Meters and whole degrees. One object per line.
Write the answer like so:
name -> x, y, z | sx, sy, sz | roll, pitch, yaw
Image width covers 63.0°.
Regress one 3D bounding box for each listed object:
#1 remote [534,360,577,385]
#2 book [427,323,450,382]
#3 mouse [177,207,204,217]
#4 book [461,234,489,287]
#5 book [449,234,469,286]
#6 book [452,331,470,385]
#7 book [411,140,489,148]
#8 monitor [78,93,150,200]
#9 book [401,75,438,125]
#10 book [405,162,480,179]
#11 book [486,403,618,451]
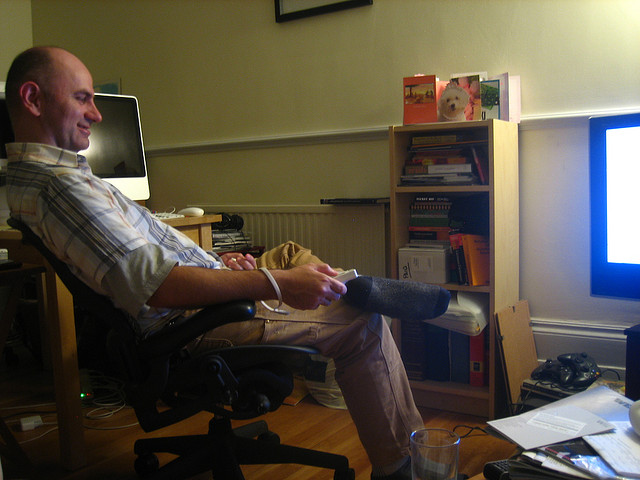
remote -> 0.972, 0.545, 2.159 | 0.103, 0.064, 0.142 | -9, 12, -36
book -> 0.536, 0.516, 2.375 | 0.092, 0.255, 0.046 | -1, 9, 7
mouse -> -0.608, -0.124, 2.433 | 0.110, 0.030, 0.061 | -1, 2, 27
book -> 0.685, 0.088, 2.276 | 0.189, 0.194, 0.045 | 1, -3, -41
book -> 0.609, 0.084, 2.276 | 0.055, 0.202, 0.198 | -6, -7, 2
book -> 0.634, 0.532, 2.352 | 0.077, 0.228, 0.034 | 1, 10, 18
book -> 0.568, -0.422, 2.316 | 0.334, 0.021, 0.039 | 3, 11, 25
monitor -> -1.031, -0.450, 2.588 | 0.101, 0.560, 0.450 | 8, 11, 31
book -> 0.451, -0.646, 2.367 | 0.167, 0.213, 0.126 | -4, 30, 5
book -> 0.538, -0.301, 2.318 | 0.325, 0.068, 0.065 | 1, 10, 15
book -> 0.599, 0.482, 1.352 | 0.293, 0.025, 0.155 | -5, 10, -19
